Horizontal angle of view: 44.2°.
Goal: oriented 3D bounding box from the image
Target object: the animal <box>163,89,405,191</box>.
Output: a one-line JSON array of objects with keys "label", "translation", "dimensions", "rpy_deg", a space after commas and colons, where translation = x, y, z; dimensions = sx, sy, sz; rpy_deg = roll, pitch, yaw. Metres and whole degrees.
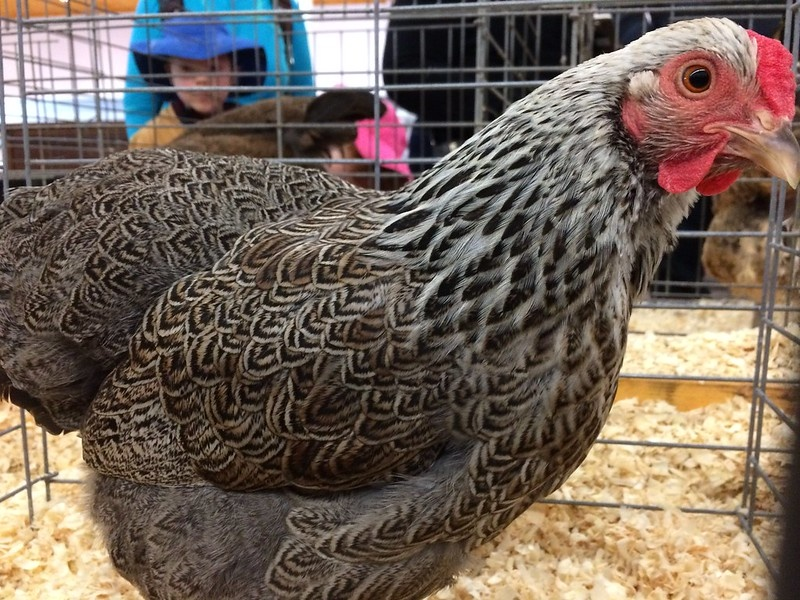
[{"label": "animal", "translation": [-0.909, -0.958, 5.804], "dimensions": [1.967, 0.581, 0.449], "rpy_deg": [0, 44, -2]}]
